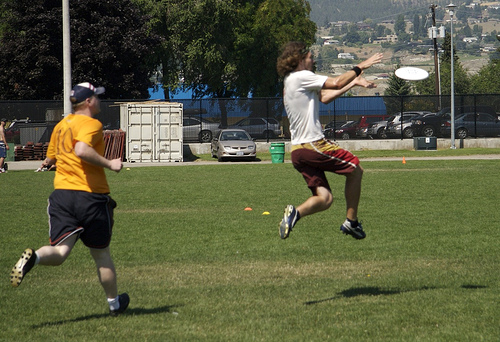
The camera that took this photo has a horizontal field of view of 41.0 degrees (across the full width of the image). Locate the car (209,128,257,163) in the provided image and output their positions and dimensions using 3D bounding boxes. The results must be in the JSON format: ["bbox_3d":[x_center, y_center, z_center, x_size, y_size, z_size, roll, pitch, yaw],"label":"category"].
[{"bbox_3d":[-0.815,-1.214,32.879,1.854,1.392,2.715,-2,10,-11],"label":"car"}]

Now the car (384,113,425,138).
[{"bbox_3d":[9.151,-2.793,39.849,1.679,1.003,1.020,1,2,-5],"label":"car"}]

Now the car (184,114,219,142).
[{"bbox_3d":[-2.761,-2.464,37.903,2.178,0.813,0.995,-2,5,-5],"label":"car"}]

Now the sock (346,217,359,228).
[{"bbox_3d":[1.638,0.826,10.741,0.127,0.178,0.400,3,4,10],"label":"sock"}]

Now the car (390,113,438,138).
[{"bbox_3d":[9.655,-2.662,39.682,2.144,1.074,1.247,0,1,-5],"label":"car"}]

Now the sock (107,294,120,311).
[{"bbox_3d":[-2.011,1.937,9.878,0.089,0.248,0.101,0,2,7],"label":"sock"}]

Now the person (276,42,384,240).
[{"bbox_3d":[1.136,-0.446,10.646,1.403,3.169,0.925,0,8,2],"label":"person"}]

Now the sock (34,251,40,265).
[{"bbox_3d":[-3.001,1.218,9.406,0.071,0.180,0.080,0,8,2],"label":"sock"}]

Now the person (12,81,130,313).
[{"bbox_3d":[-2.516,0.414,9.764,1.353,3.328,0.787,-3,8,-13],"label":"person"}]

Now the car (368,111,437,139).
[{"bbox_3d":[9.025,-2.828,41.394,3.431,1.479,1.552,0,3,-3],"label":"car"}]

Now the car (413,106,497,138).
[{"bbox_3d":[11.927,-3.061,40.219,4.494,1.820,2.013,0,1,-8],"label":"car"}]

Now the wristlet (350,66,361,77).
[{"bbox_3d":[1.711,-1.576,10.653,0.107,0.112,0.080,22,47,39],"label":"wristlet"}]

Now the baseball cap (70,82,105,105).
[{"bbox_3d":[-2.426,-1.151,9.926,0.418,0.228,0.262,-26,23,-15],"label":"baseball cap"}]

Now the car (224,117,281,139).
[{"bbox_3d":[0.378,-2.687,39.163,2.797,1.127,1.351,2,0,-5],"label":"car"}]

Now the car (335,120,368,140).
[{"bbox_3d":[6.223,-2.546,41.642,1.720,0.910,1.037,3,2,-14],"label":"car"}]
